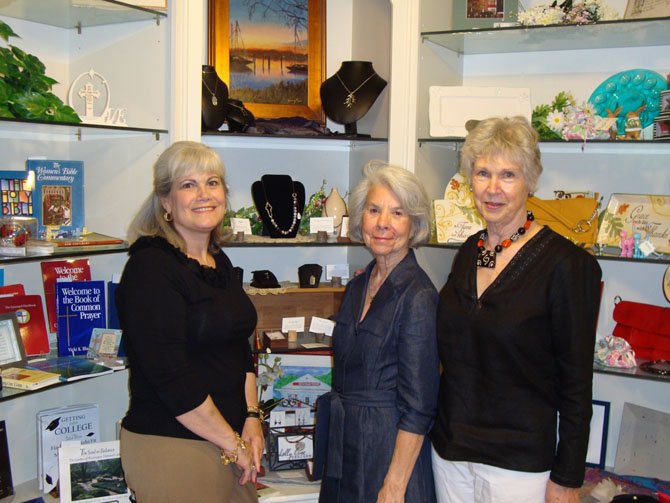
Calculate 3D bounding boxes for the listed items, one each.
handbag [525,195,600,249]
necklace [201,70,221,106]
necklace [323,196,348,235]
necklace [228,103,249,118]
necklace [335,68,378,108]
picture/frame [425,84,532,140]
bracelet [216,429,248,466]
[{"bbox_3d":[1.144,-0.166,2.801,0.306,0.118,0.315,1,24,3],"label":"handbag"},{"bbox_3d":[-0.686,-0.913,3.093,0.082,0.222,0.125,-5,10,-11],"label":"necklace"},{"bbox_3d":[0.011,-0.230,3.547,0.189,0.331,0.194,1,-2,-6],"label":"necklace"},{"bbox_3d":[-0.547,-0.806,3.191,0.107,0.046,0.068,16,55,14],"label":"necklace"},{"bbox_3d":[0.156,-0.952,3.348,0.284,0.264,0.234,7,20,24],"label":"necklace"},{"bbox_3d":[0.731,-0.760,2.961,0.382,0.409,0.105,1,-3,5],"label":"picture/frame"},{"bbox_3d":[-0.380,0.749,2.154,0.087,0.121,0.047,-2,1,6],"label":"bracelet"}]
